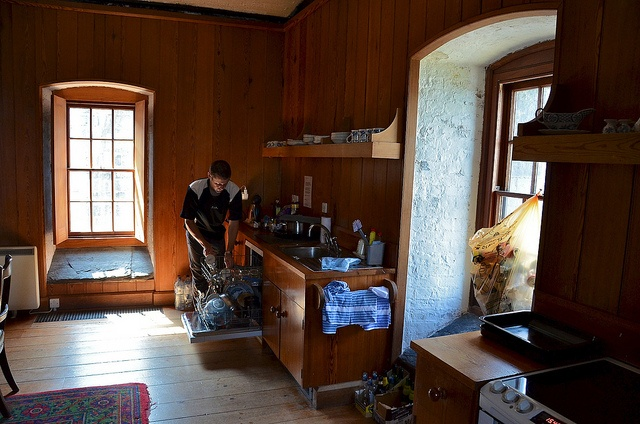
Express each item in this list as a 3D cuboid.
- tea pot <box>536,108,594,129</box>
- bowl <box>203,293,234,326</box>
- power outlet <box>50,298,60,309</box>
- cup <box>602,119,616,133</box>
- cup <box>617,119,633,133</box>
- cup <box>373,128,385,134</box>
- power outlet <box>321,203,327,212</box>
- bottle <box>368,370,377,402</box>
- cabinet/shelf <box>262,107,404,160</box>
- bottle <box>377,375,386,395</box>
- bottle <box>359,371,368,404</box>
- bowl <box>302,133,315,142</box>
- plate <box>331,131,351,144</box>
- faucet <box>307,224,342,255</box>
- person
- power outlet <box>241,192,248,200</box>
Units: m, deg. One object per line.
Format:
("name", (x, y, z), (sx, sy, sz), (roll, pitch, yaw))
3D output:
("tea pot", (1.337, -0.484, 2.486), (0.240, 0.097, 0.128), (-1, 5, 19))
("bowl", (-0.927, 0.905, 4.225), (0.278, 0.278, 0.187), (19, 32, 15))
("power outlet", (-3.090, 1.056, 5.287), (0.101, 0.142, 0.029), (-3, 14, -25))
("cup", (1.469, -0.429, 2.301), (0.074, 0.074, 0.074), (0, 5, 0))
("cup", (1.553, -0.434, 2.312), (0.066, 0.066, 0.229), (10, 14, 33))
("cup", (0.469, -0.634, 3.567), (0.066, 0.030, 0.102), (-4, 13, -27))
("power outlet", (0.045, -0.050, 4.658), (0.012, 0.068, 0.094), (-1, 5, -17))
("bottle", (0.429, 1.388, 3.658), (0.068, 0.209, 0.202), (4, 12, 8))
("cabinet/shelf", (0.140, -0.687, 4.106), (0.347, 0.476, 1.479), (-5, 14, -31))
("bottle", (0.489, 1.359, 3.637), (0.085, 0.128, 0.124), (1, 12, -8))
("bottle", (0.359, 1.403, 3.697), (0.069, 0.245, 0.125), (4, 13, 9))
("bowl", (-0.102, -0.719, 4.469), (0.094, 0.057, 0.094), (0, 8, 0))
("plate", (0.169, -0.634, 3.924), (0.127, 0.068, 0.126), (1, 7, 26))
("faucet", (0.049, 0.232, 4.294), (0.060, 0.206, 0.486), (-15, 32, -33))
("person", (-1.130, 0.184, 4.744), (0.607, 1.470, 0.942), (0, 13, -11))
("power outlet", (-0.912, -0.192, 5.649), (0.086, 0.121, 0.088), (4, 4, 37))
